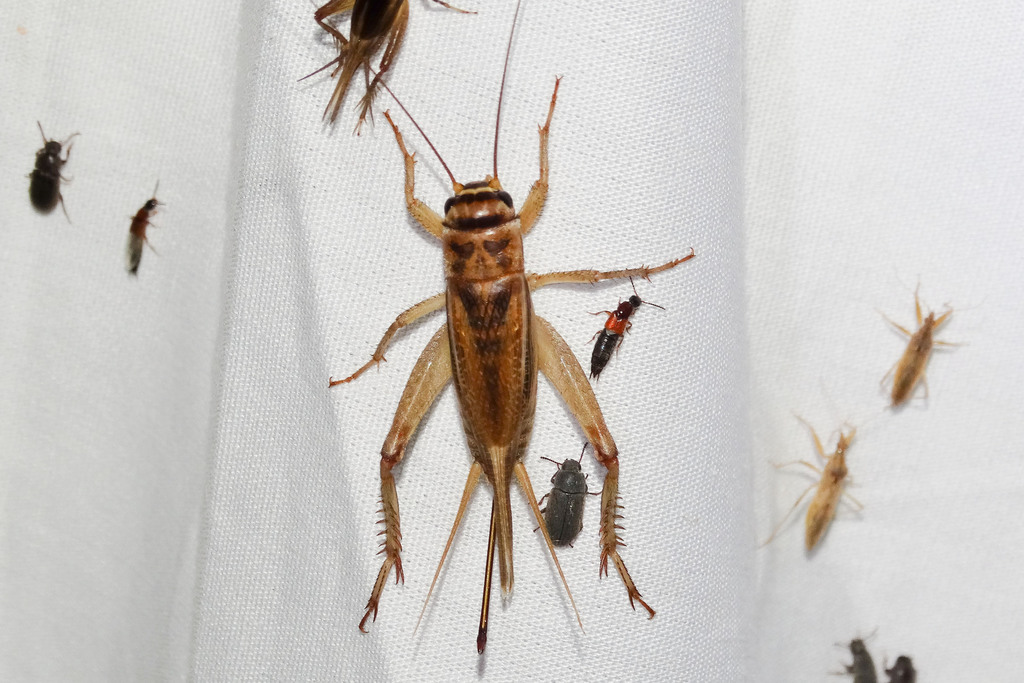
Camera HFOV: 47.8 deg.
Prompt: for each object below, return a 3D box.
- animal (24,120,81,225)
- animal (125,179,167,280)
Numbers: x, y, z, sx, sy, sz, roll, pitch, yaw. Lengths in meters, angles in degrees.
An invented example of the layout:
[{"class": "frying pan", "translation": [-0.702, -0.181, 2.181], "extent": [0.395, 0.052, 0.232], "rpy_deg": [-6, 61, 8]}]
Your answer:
[{"class": "animal", "translation": [-2.605, -0.968, 6.527], "extent": [0.254, 0.496, 0.185], "rpy_deg": [3, -20, -15]}, {"class": "animal", "translation": [-2.100, -0.606, 6.519], "extent": [0.178, 0.474, 0.151], "rpy_deg": [13, 1, -32]}]
